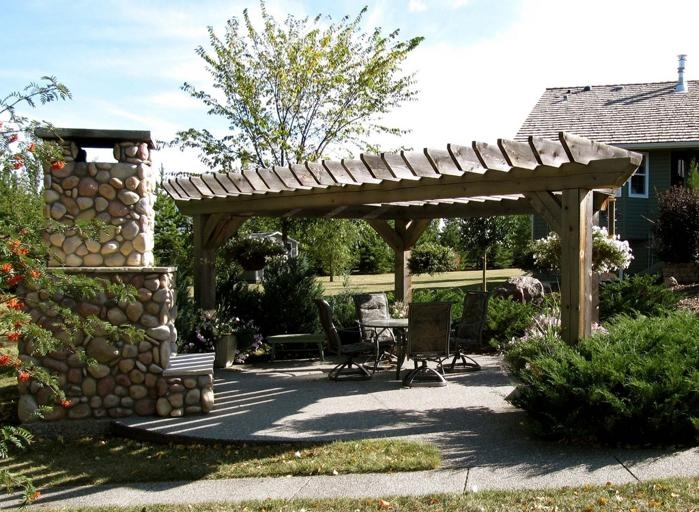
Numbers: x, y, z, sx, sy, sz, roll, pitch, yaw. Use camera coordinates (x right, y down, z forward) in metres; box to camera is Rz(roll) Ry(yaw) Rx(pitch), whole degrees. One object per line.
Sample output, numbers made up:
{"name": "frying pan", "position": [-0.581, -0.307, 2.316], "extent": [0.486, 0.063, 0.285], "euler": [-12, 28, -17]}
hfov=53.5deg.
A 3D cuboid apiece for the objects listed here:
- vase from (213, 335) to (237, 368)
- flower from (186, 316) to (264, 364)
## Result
{"name": "vase", "position": [-2.200, 1.651, 12.071], "extent": [0.523, 0.666, 0.453], "euler": [3, -6, -31]}
{"name": "flower", "position": [-2.304, 1.371, 12.124], "extent": [0.845, 0.707, 0.993], "euler": [-2, -6, 17]}
